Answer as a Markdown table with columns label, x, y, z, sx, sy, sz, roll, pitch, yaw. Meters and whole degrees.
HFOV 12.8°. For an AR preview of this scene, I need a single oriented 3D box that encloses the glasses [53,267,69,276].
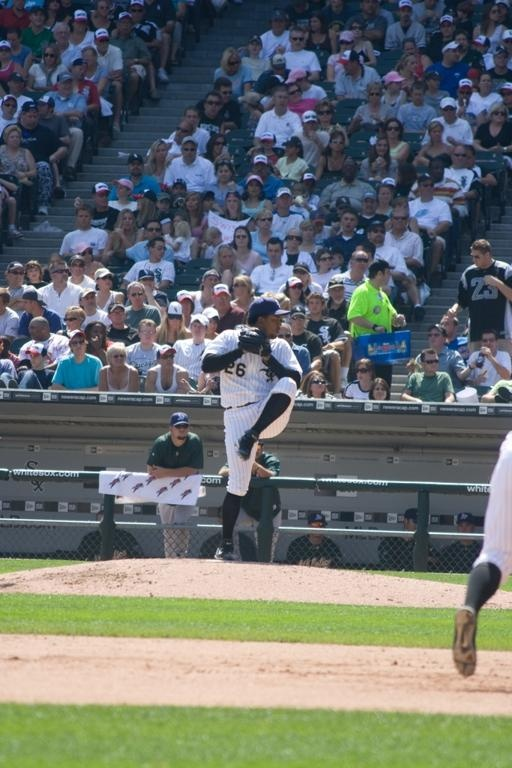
| label | x | y | z | sx | sy | sz | roll | pitch | yaw |
| --- | --- | --- | --- | --- | --- | --- | --- | --- | --- |
| glasses | -1.844 | -1.150 | 21.709 | 0.160 | 0.079 | 0.074 | -3 | 8 | -32 |

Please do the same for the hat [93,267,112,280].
| label | x | y | z | sx | sy | sz | roll | pitch | yaw |
| --- | --- | --- | --- | --- | --- | --- | --- | --- | --- |
| hat | -1.471 | -1.148 | 21.868 | 0.109 | 0.090 | 0.154 | -9 | -11 | -31 |

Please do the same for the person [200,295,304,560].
| label | x | y | z | sx | sy | sz | roll | pitch | yaw |
| --- | --- | --- | --- | --- | --- | --- | --- | --- | --- |
| person | -0.051 | 0.329 | 17.663 | 0.724 | 2.085 | 0.552 | 1 | 6 | 5 |

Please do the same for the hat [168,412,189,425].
| label | x | y | z | sx | sy | sz | roll | pitch | yaw |
| --- | --- | --- | --- | --- | --- | --- | --- | --- | --- |
| hat | -0.628 | 0.252 | 18.631 | 0.139 | 0.106 | 0.280 | 1 | 7 | -3 |

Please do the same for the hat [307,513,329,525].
| label | x | y | z | sx | sy | sz | roll | pitch | yaw |
| --- | --- | --- | --- | --- | --- | --- | --- | --- | --- |
| hat | 0.504 | 1.129 | 19.397 | 0.122 | 0.080 | 0.097 | 3 | 1 | 1 |

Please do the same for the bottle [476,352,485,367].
| label | x | y | z | sx | sy | sz | roll | pitch | yaw |
| --- | --- | --- | --- | --- | --- | --- | --- | --- | --- |
| bottle | 1.946 | -0.255 | 20.063 | 0.052 | 0.129 | 0.096 | -2 | 7 | -19 |

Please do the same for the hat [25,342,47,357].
| label | x | y | z | sx | sy | sz | roll | pitch | yaw |
| --- | --- | --- | --- | --- | --- | --- | --- | --- | --- |
| hat | -1.936 | -0.362 | 20.406 | 0.132 | 0.122 | 0.237 | 10 | -2 | 21 |

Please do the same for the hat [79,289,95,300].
| label | x | y | z | sx | sy | sz | roll | pitch | yaw |
| --- | --- | --- | --- | --- | --- | --- | --- | --- | --- |
| hat | -1.568 | -0.908 | 21.413 | 0.139 | 0.090 | 0.245 | 0 | 7 | -4 |

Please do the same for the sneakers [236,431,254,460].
| label | x | y | z | sx | sy | sz | roll | pitch | yaw |
| --- | --- | --- | --- | --- | --- | --- | --- | --- | --- |
| sneakers | -0.087 | 0.443 | 17.434 | 0.107 | 0.212 | 0.080 | 7 | -1 | 37 |

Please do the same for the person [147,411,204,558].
| label | x | y | z | sx | sy | sz | roll | pitch | yaw |
| --- | --- | --- | --- | --- | --- | --- | --- | --- | --- |
| person | -0.674 | 0.818 | 18.683 | 0.454 | 1.245 | 0.616 | 2 | 6 | 9 |

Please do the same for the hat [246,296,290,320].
| label | x | y | z | sx | sy | sz | roll | pitch | yaw |
| --- | --- | --- | --- | --- | --- | --- | --- | --- | --- |
| hat | 0.072 | -0.635 | 17.676 | 0.226 | 0.154 | 0.176 | -1 | 14 | -3 |

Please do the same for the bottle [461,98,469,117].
| label | x | y | z | sx | sy | sz | roll | pitch | yaw |
| --- | --- | --- | --- | --- | --- | --- | --- | --- | --- |
| bottle | 2.190 | -3.079 | 24.390 | 0.044 | 0.173 | 0.110 | 3 | 6 | 32 |

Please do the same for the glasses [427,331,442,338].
| label | x | y | z | sx | sy | sz | roll | pitch | yaw |
| --- | --- | --- | --- | --- | --- | --- | --- | --- | --- |
| glasses | 1.549 | -0.510 | 20.254 | 0.072 | 0.076 | 0.148 | -3 | 8 | -31 |

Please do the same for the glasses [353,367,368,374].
| label | x | y | z | sx | sy | sz | roll | pitch | yaw |
| --- | --- | --- | --- | --- | --- | --- | --- | --- | --- |
| glasses | 0.894 | -0.172 | 20.033 | 0.069 | 0.097 | 0.175 | -2 | 8 | -25 |

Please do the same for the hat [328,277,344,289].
| label | x | y | z | sx | sy | sz | roll | pitch | yaw |
| --- | --- | --- | --- | --- | --- | --- | --- | --- | --- |
| hat | 0.742 | -1.014 | 21.310 | 0.186 | 0.127 | 0.184 | -1 | 7 | -19 |

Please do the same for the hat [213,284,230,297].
| label | x | y | z | sx | sy | sz | roll | pitch | yaw |
| --- | --- | --- | --- | --- | --- | --- | --- | --- | --- |
| hat | -0.319 | -0.907 | 20.314 | 0.123 | 0.112 | 0.224 | 4 | -6 | -6 |

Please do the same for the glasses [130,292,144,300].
| label | x | y | z | sx | sy | sz | roll | pitch | yaw |
| --- | --- | --- | --- | --- | --- | --- | --- | --- | --- |
| glasses | -1.095 | -0.892 | 21.289 | 0.151 | 0.053 | 0.083 | -4 | 8 | -34 |

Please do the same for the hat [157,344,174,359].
| label | x | y | z | sx | sy | sz | roll | pitch | yaw |
| --- | --- | --- | --- | --- | --- | --- | --- | --- | --- |
| hat | -0.781 | -0.333 | 20.007 | 0.144 | 0.110 | 0.299 | 0 | 7 | -4 |

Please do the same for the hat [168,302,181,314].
| label | x | y | z | sx | sy | sz | roll | pitch | yaw |
| --- | --- | --- | --- | --- | --- | --- | --- | --- | --- |
| hat | -0.732 | -0.751 | 20.784 | 0.110 | 0.112 | 0.242 | 2 | 7 | 11 |

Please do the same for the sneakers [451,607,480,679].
| label | x | y | z | sx | sy | sz | roll | pitch | yaw |
| --- | --- | --- | --- | --- | --- | --- | --- | --- | --- |
| sneakers | 1.290 | 1.617 | 14.255 | 0.125 | 0.465 | 0.192 | 0 | -1 | 7 |

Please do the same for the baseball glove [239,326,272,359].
| label | x | y | z | sx | sy | sz | roll | pitch | yaw |
| --- | --- | --- | --- | --- | --- | --- | --- | --- | --- |
| baseball glove | -0.017 | -0.356 | 17.428 | 0.238 | 0.224 | 0.234 | 1 | 7 | 1 |

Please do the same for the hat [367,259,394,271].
| label | x | y | z | sx | sy | sz | roll | pitch | yaw |
| --- | --- | --- | --- | --- | --- | --- | --- | --- | --- |
| hat | 1.085 | -1.132 | 20.610 | 0.168 | 0.106 | 0.217 | 1 | 7 | -1 |
